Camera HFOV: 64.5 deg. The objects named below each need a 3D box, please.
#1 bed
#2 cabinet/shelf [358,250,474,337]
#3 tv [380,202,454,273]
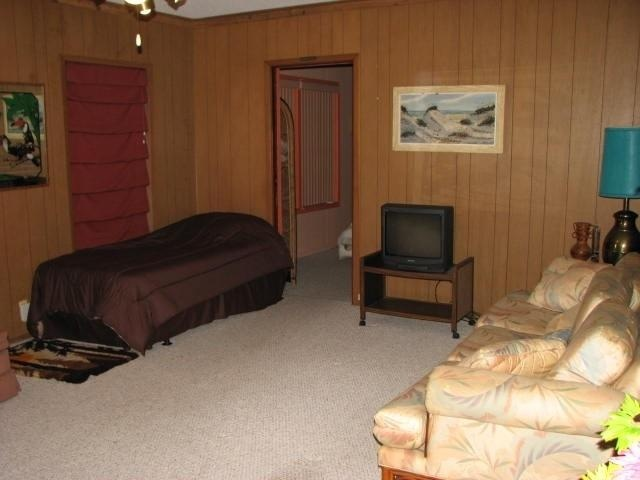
[{"bbox_3d":[-1.544,0.420,5.154,1.361,0.936,2.298,9,20,33],"label":"bed"},{"bbox_3d":[0.960,0.517,5.053,0.992,0.726,0.596,4,11,32],"label":"cabinet/shelf"},{"bbox_3d":[0.939,-0.034,5.107,0.882,0.912,0.561,2,5,20],"label":"tv"}]
